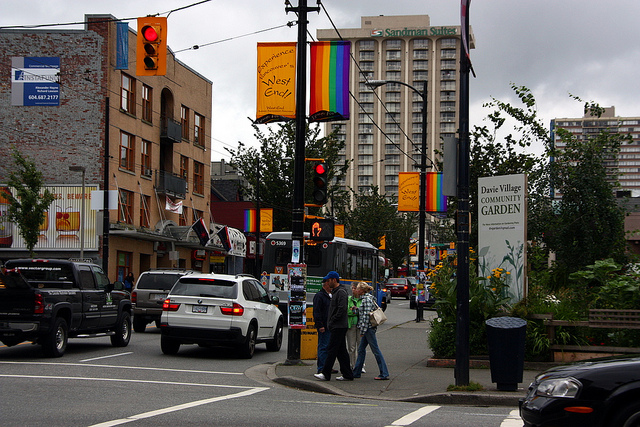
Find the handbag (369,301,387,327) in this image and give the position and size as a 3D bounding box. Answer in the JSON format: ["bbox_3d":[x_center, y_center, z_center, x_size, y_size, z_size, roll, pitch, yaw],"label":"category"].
[{"bbox_3d":[1.566,2.696,23.653,0.396,0.686,0.437,0,-6,12],"label":"handbag"}]

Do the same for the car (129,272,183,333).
[{"bbox_3d":[-6.283,3.190,34.078,1.470,1.469,2.688,0,-1,3],"label":"car"}]

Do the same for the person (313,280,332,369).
[{"bbox_3d":[0.010,3.017,24.339,0.782,2.636,0.877,-1,-2,22],"label":"person"}]

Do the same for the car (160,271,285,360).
[{"bbox_3d":[-3.132,3.305,29.375,3.048,2.552,6.218,3,-4,11],"label":"car"}]

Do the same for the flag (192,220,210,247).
[{"bbox_3d":[-7.210,1.108,52.607,0.654,1.407,0.967,6,-8,-39],"label":"flag"}]

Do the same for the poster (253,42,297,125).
[{"bbox_3d":[-1.363,-4.048,26.497,1.404,2.378,0.094,-1,-10,7],"label":"poster"}]

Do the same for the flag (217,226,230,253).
[{"bbox_3d":[-5.974,1.530,54.091,0.820,1.376,0.311,-2,-7,28],"label":"flag"}]

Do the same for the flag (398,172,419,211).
[{"bbox_3d":[4.145,-1.037,40.320,0.893,1.868,1.133,0,-6,9],"label":"flag"}]

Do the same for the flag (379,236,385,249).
[{"bbox_3d":[4.859,2.233,68.097,0.157,1.628,1.197,1,-1,19],"label":"flag"}]

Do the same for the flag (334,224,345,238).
[{"bbox_3d":[1.075,0.973,48.973,0.376,0.733,0.752,-5,-6,37],"label":"flag"}]

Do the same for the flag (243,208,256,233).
[{"bbox_3d":[-4.437,0.405,55.161,0.684,1.567,2.669,2,-6,-6],"label":"flag"}]
